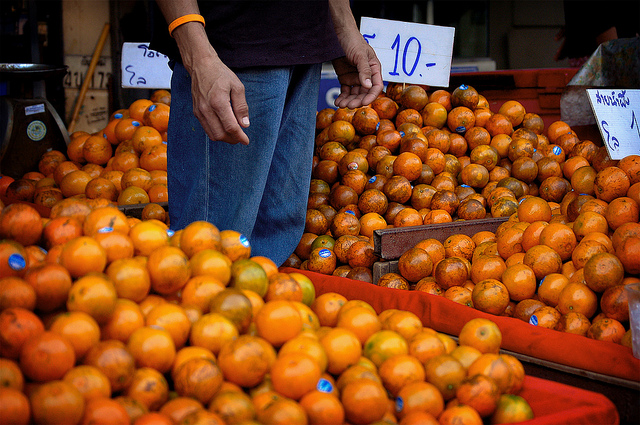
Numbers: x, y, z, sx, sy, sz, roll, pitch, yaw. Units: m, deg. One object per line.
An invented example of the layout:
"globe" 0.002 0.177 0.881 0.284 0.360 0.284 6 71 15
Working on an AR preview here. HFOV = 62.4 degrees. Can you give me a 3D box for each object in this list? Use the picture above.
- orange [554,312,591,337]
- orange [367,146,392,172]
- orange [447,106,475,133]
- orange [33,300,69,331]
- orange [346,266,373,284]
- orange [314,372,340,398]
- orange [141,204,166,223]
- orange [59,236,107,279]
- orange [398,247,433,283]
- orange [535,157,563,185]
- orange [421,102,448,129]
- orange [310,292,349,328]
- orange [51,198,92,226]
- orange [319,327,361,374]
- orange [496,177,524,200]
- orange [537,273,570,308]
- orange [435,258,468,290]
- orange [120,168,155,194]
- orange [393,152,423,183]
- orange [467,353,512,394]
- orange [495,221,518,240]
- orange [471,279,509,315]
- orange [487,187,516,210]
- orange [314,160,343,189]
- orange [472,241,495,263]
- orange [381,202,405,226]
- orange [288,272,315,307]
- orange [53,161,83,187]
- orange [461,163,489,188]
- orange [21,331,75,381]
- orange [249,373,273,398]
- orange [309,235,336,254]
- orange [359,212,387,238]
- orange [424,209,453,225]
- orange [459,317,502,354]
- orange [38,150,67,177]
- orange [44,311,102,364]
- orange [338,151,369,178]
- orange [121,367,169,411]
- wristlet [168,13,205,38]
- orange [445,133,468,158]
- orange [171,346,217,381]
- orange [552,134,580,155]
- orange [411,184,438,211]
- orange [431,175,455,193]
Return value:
"orange" 1.179 0.521 2.477 0.112 0.138 0.114 -10 33 2
"orange" 0.415 -0.420 3.868 0.172 0.184 0.175 17 15 0
"orange" 1.094 -0.748 4.222 0.194 0.203 0.182 8 20 -13
"orange" -0.936 0.357 1.848 0.096 0.101 0.096 1 -32 -31
"orange" 0.237 0.369 3.121 0.159 0.064 0.118 9 19 5
"orange" 0.025 0.576 1.764 0.066 0.083 0.067 -2 5 -3
"orange" -1.046 0.001 3.326 0.114 0.113 0.137 9 -11 46
"orange" -0.840 0.156 1.901 0.140 0.152 0.150 2 18 -14
"orange" 0.537 0.299 3.064 0.179 0.179 0.174 -23 5 3
"orange" 1.654 -0.323 3.856 0.181 0.230 0.187 11 26 20
"orange" 0.919 -0.771 4.224 0.205 0.190 0.116 10 19 11
"orange" 0.030 0.375 2.140 0.125 0.127 0.143 38 -8 -18
"orange" -1.108 -0.022 2.329 0.145 0.120 0.114 -9 29 4
"orange" 0.083 0.476 1.890 0.132 0.148 0.165 -8 25 28
"orange" 1.338 -0.187 3.689 0.159 0.162 0.150 -9 13 -27
"orange" 1.227 0.381 2.686 0.143 0.174 0.138 -5 32 23
"orange" 0.716 0.334 2.950 0.159 0.160 0.157 -33 12 -19
"orange" -1.311 -0.233 3.797 0.230 0.233 0.221 4 18 -24
"orange" 0.618 -0.321 3.774 0.192 0.204 0.187 -3 32 -30
"orange" 0.584 0.530 1.814 0.131 0.169 0.136 0 0 9
"orange" 1.107 0.090 3.171 0.107 0.109 0.104 27 -45 -33
"orange" 0.847 0.422 2.666 0.157 0.165 0.173 17 52 26
"orange" 1.235 -0.122 3.626 0.143 0.152 0.156 -22 47 26
"orange" 0.070 -0.268 3.829 0.171 0.221 0.177 -1 3 3
"orange" 0.932 0.219 3.067 0.114 0.116 0.115 16 -6 -24
"orange" 0.495 -0.002 3.575 0.133 0.172 0.140 8 47 2
"orange" -0.056 0.314 2.152 0.114 0.142 0.119 -6 -5 23
"orange" -1.838 -0.274 3.852 0.148 0.129 0.128 -13 45 -2
"orange" 1.116 -0.262 3.797 0.164 0.168 0.160 3 6 7
"orange" -0.865 0.440 1.704 0.141 0.145 0.137 9 23 42
"orange" -0.194 0.589 1.775 0.068 0.086 0.071 12 -19 12
"orange" 0.025 0.189 3.339 0.102 0.109 0.111 -14 33 -7
"orange" 0.378 0.109 3.524 0.217 0.224 0.218 3 -5 11
"orange" 0.763 0.030 3.430 0.115 0.126 0.125 2 19 32
"orange" 0.595 0.464 1.991 0.121 0.136 0.156 -1 -21 10
"orange" -2.165 -0.408 4.342 0.192 0.203 0.198 -1 -8 13
"orange" -0.785 0.408 1.747 0.161 0.190 0.156 -8 -14 -8
"orange" 0.233 -0.336 3.837 0.185 0.226 0.175 -3 3 -13
"orange" -0.553 0.568 1.710 0.124 0.127 0.149 4 -29 -8
"wristlet" -0.603 -0.841 2.375 0.094 0.024 0.097 -13 -13 -16
"orange" 1.043 -0.513 4.118 0.166 0.171 0.205 0 54 2
"orange" -0.437 0.503 1.790 0.111 0.140 0.114 2 -22 -10
"orange" 1.911 -0.547 4.126 0.157 0.199 0.171 -9 -25 13
"orange" 0.716 -0.110 3.628 0.159 0.195 0.163 1 52 6
"orange" 0.866 -0.198 3.728 0.116 0.143 0.115 -1 0 -18
